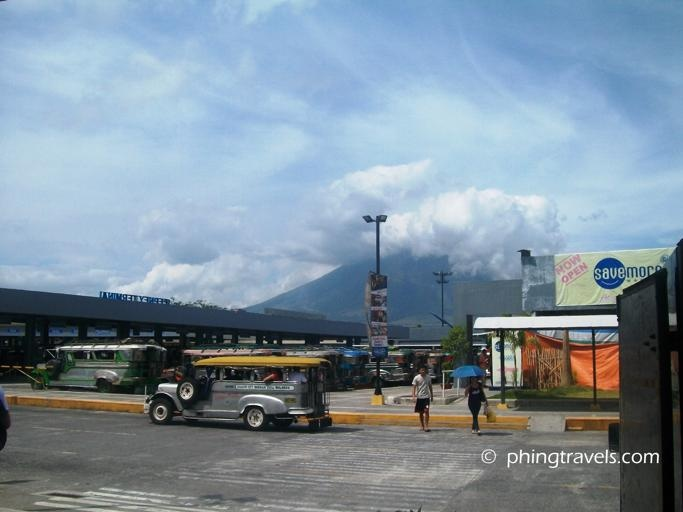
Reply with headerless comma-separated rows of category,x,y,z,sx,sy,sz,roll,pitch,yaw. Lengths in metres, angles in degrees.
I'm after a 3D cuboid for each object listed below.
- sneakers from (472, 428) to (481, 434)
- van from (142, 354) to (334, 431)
sneakers,4.291,5.608,23.734,0.142,0.165,0.389,3,-3,-6
van,-3.771,4.811,26.220,6.842,2.558,2.329,-4,-8,19
